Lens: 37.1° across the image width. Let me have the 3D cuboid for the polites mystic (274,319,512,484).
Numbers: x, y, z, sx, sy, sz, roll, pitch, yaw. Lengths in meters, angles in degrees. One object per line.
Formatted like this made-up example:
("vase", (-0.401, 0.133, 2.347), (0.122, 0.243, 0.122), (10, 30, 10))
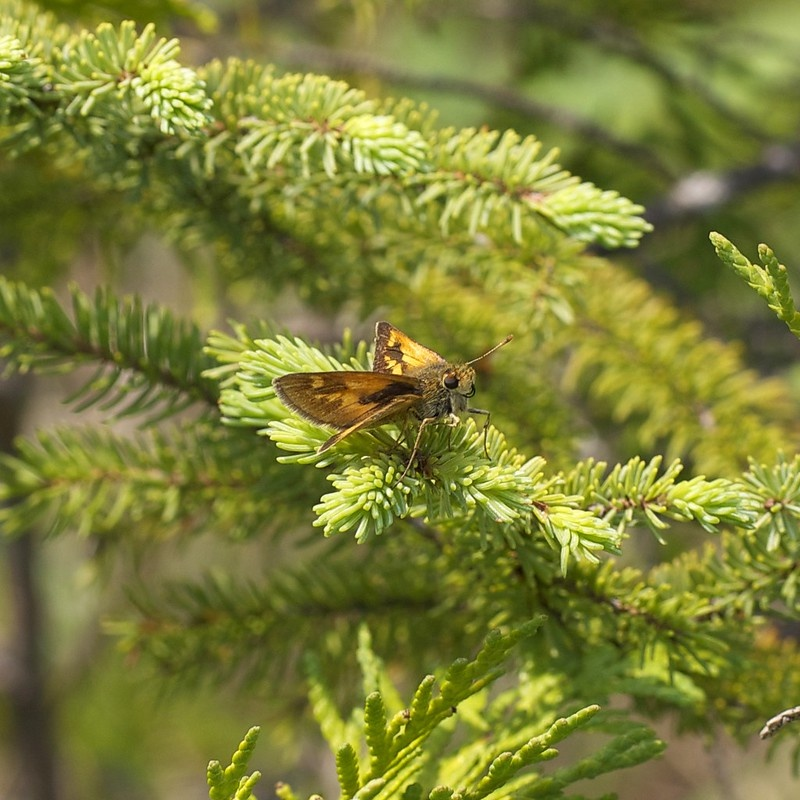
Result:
("polites mystic", (-0.004, -0.009, 1.459), (0.246, 0.228, 0.106), (-5, 98, 8))
